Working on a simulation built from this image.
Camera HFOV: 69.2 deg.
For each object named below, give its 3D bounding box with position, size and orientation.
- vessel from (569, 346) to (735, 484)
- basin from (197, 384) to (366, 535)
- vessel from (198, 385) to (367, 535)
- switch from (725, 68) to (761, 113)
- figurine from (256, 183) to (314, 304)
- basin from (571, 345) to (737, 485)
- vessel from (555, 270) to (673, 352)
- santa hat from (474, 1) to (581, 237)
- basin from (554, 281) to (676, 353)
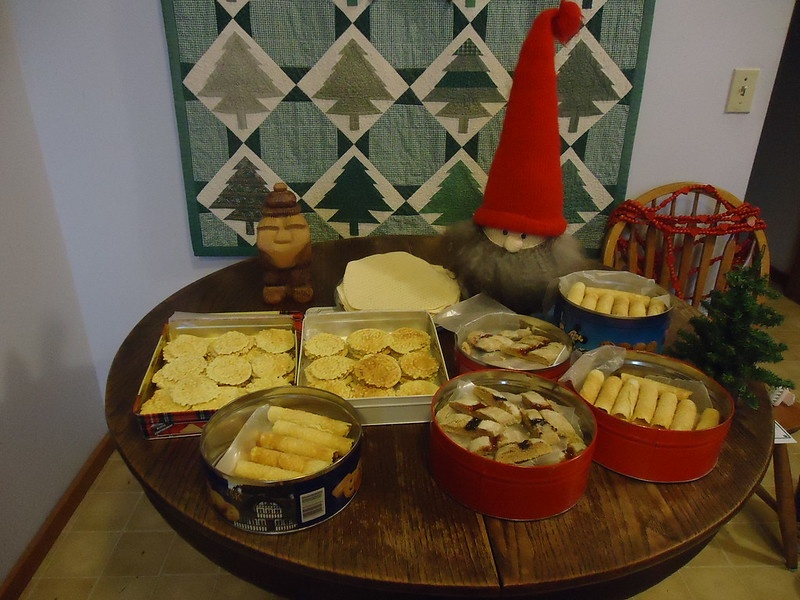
[{"bbox_3d":[0.442,0.209,1.070,0.246,0.111,0.271,26,39,33],"label":"vessel"},{"bbox_3d":[-0.179,0.274,1.017,0.254,0.102,0.256,-6,26,3],"label":"basin"},{"bbox_3d":[-0.193,0.269,0.980,0.231,0.095,0.235,-12,39,-21],"label":"vessel"},{"bbox_3d":[1.112,-0.683,1.892,0.090,0.135,0.019,-4,21,-9],"label":"switch"},{"bbox_3d":[-0.280,-0.135,1.416,0.130,0.295,0.121,-5,23,-15],"label":"figurine"},{"bbox_3d":[0.483,0.216,1.125,0.321,0.152,0.349,2,17,-1],"label":"basin"},{"bbox_3d":[0.437,0.015,1.252,0.196,0.136,0.209,-17,31,-26],"label":"vessel"},{"bbox_3d":[0.322,-0.420,1.356,0.265,0.515,0.194,-19,27,-39],"label":"santa hat"},{"bbox_3d":[0.440,-0.007,1.204,0.162,0.107,0.167,8,20,-3],"label":"basin"}]
